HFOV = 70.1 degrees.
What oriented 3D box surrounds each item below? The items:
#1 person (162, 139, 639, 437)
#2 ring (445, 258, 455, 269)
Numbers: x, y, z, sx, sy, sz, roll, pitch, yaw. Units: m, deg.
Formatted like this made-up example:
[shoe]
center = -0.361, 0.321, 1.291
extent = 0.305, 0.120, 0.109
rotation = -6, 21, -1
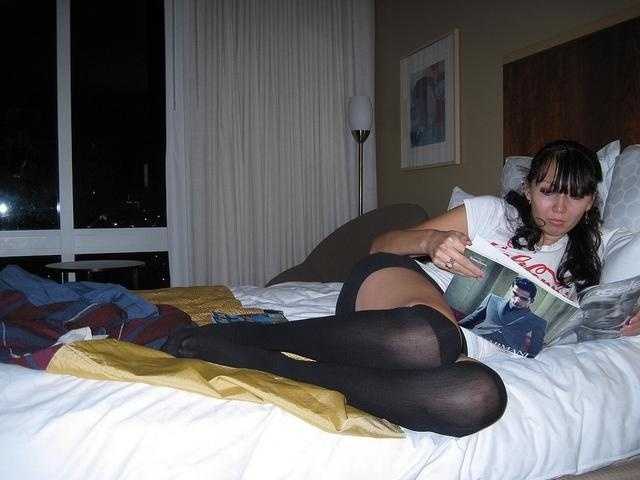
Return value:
[person]
center = 0.322, 0.144, 1.391
extent = 1.207, 0.739, 0.766
rotation = 7, 9, -20
[ring]
center = 0.391, 0.073, 1.366
extent = 0.011, 0.020, 0.026
rotation = -5, -6, -18
